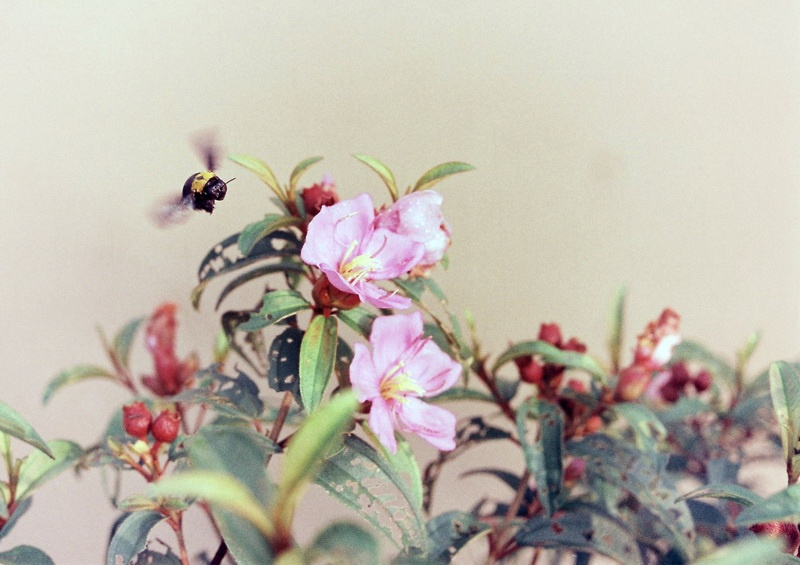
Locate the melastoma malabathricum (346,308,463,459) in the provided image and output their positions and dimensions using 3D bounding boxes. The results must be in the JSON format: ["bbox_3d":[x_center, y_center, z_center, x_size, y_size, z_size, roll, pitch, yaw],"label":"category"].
[{"bbox_3d":[0.000,0.152,1.849,0.202,0.093,0.193,48,-114,-29],"label":"melastoma malabathricum"}]

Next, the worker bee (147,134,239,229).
[{"bbox_3d":[-0.363,-0.165,2.139,0.096,0.124,0.172,36,-70,-31],"label":"worker bee"}]
